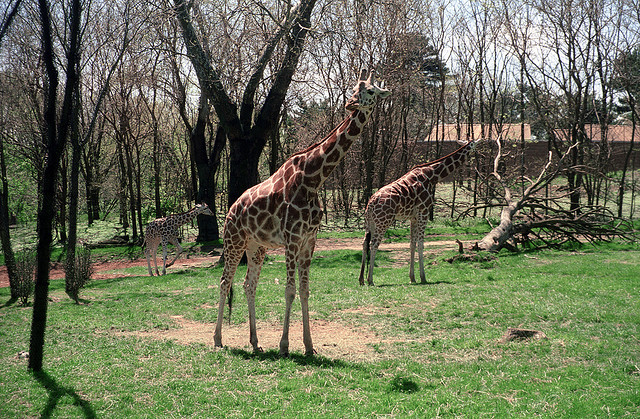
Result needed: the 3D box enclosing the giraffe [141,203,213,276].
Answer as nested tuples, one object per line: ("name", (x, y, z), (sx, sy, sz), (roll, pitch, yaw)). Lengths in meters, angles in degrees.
("giraffe", (-7.334, 1.422, 27.939), (2.395, 3.247, 6.000), (0, -1, -14))
